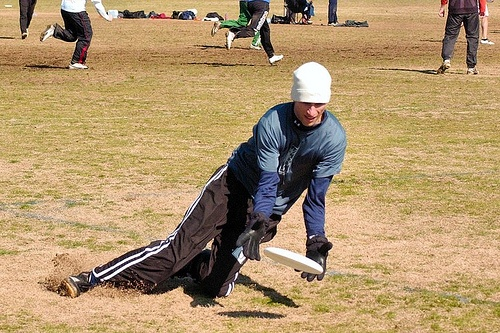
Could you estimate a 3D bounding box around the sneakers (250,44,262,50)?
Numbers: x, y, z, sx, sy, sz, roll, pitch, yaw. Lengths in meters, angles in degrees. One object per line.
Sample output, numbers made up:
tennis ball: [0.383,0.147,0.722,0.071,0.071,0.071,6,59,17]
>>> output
sneakers: [0.198,-3.417,28.412,0.397,0.128,0.165,1,-33,-19]

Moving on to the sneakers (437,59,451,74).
sneakers: [4.424,-2.266,22.504,0.168,0.206,0.504,8,11,3]

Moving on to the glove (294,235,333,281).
glove: [0.842,1.184,12.651,0.391,0.585,0.196,31,-15,24]

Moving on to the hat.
hat: [0.791,-1.051,12.490,0.439,0.328,0.574,8,16,1]

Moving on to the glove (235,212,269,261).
glove: [0.017,0.862,12.424,0.369,0.554,0.411,4,10,4]

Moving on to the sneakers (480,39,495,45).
sneakers: [7.091,-3.687,29.286,0.454,0.160,0.141,-1,27,-16]
